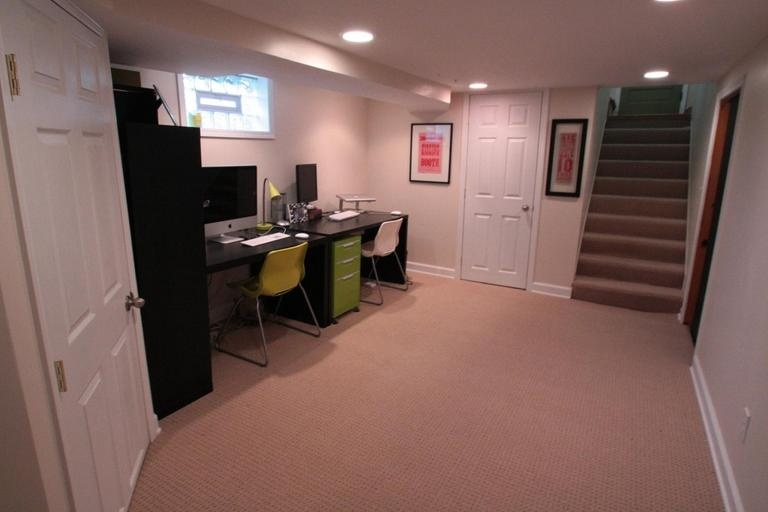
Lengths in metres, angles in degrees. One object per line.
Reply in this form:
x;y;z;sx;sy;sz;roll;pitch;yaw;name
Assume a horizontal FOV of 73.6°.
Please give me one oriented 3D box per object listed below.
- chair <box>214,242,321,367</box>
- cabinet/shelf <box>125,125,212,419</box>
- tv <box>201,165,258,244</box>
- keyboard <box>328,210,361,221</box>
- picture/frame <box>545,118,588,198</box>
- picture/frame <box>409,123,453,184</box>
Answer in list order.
-1.052;0.303;4.423;0.875;0.929;0.865;11;17;37;chair
-1.400;0.127;3.399;0.459;1.938;0.250;-5;15;-21;cabinet/shelf
-1.384;-0.472;4.322;0.227;0.599;0.692;12;17;25;tv
-0.427;-0.420;5.364;0.135;0.031;0.230;15;21;26;keyboard
1.925;-1.034;5.392;0.055;0.808;0.385;-9;15;-43;picture/frame
0.564;-1.216;5.952;0.647;0.861;0.030;6;13;21;picture/frame
